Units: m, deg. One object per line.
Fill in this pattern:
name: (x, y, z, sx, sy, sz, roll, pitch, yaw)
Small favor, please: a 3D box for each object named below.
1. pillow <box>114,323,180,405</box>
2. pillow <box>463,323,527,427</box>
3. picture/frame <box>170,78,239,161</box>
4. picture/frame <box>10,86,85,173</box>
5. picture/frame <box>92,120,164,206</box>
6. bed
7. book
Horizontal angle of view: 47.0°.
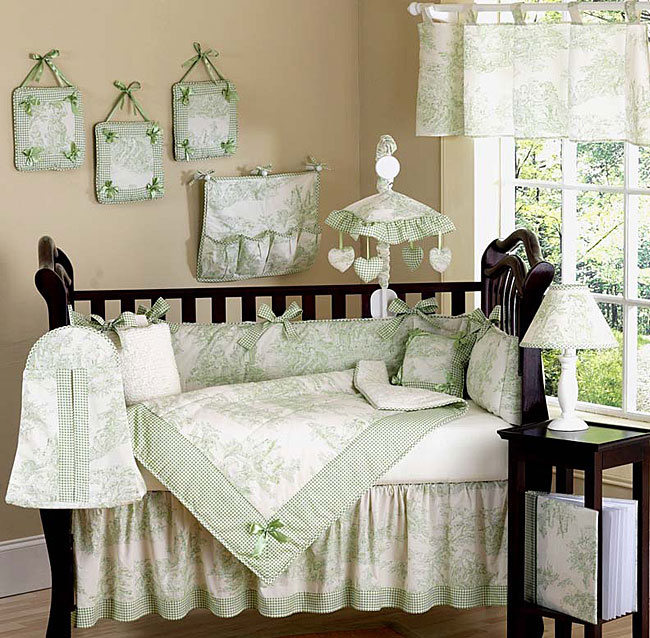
pillow: (-0.614, 0.135, 2.518, 0.089, 0.234, 0.216, -18, -6, 40)
pillow: (0.555, 0.176, 2.413, 0.065, 0.212, 0.304, 3, 0, -8)
picture/frame: (-0.557, -0.892, 3.342, 0.348, 0.381, 0.092, -4, 8, -33)
picture/frame: (-1.122, -0.756, 2.974, 0.323, 0.407, 0.043, -6, 12, -38)
picture/frame: (-0.855, -0.669, 3.173, 0.329, 0.366, 0.083, -6, 10, -35)
bed: (-0.111, 0.378, 2.404, 1.339, 1.102, 0.585, -1, 1, -12)
book: (0.654, 0.584, 2.088, 0.305, 0.373, 0.285, 0, 3, -32)
